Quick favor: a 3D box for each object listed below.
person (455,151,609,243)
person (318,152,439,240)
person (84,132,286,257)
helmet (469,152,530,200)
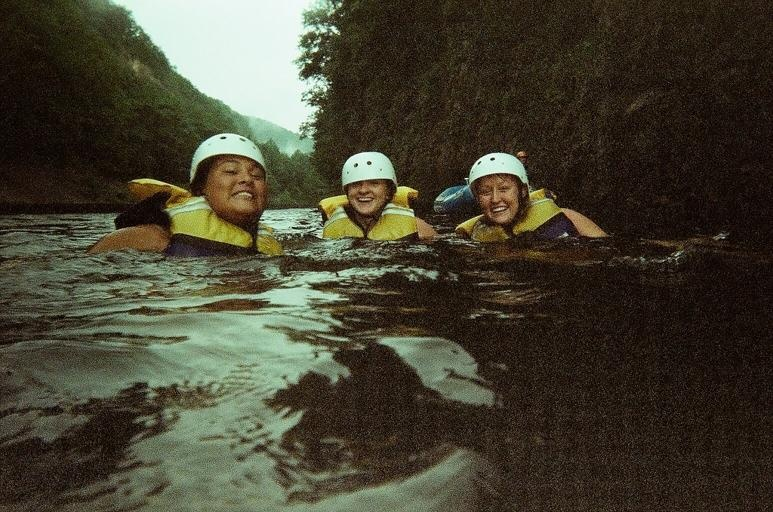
[{"bbox_3d":[1.420,-0.597,6.407,1.363,0.766,0.699,5,2,18],"label":"person"},{"bbox_3d":[-0.173,-0.622,7.059,1.544,1.048,0.822,2,5,12],"label":"person"},{"bbox_3d":[-1.722,-0.597,5.859,1.515,1.181,0.652,3,2,-11],"label":"person"},{"bbox_3d":[1.245,-0.889,6.804,0.465,0.410,0.554,-3,16,22],"label":"helmet"}]
